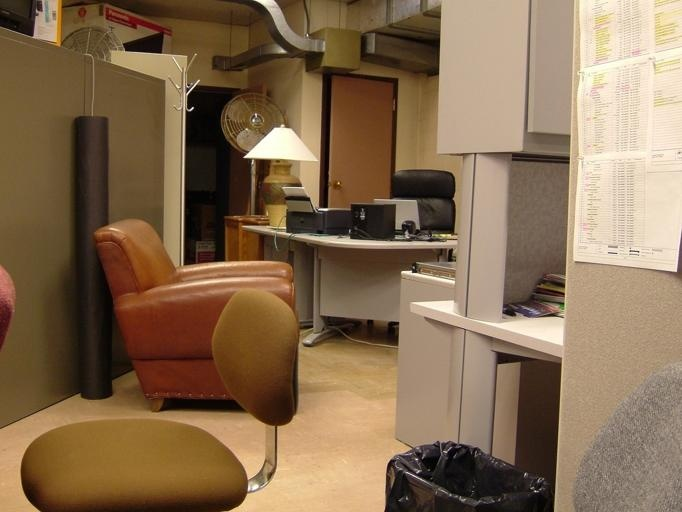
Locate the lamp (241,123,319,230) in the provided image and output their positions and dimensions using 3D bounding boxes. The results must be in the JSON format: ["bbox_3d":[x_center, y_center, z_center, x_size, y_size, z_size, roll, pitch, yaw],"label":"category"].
[{"bbox_3d":[-0.417,-0.618,4.767,0.753,1.039,0.711,1,2,1],"label":"lamp"}]

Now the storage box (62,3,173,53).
[{"bbox_3d":[-2.561,-2.601,6.536,1.201,0.453,0.569,-2,9,-27],"label":"storage box"}]

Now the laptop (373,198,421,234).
[{"bbox_3d":[0.459,-0.325,4.165,0.295,0.230,0.228,2,7,13],"label":"laptop"}]

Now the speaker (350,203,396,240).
[{"bbox_3d":[0.230,-0.242,3.909,0.299,0.307,0.234,1,5,18],"label":"speaker"}]

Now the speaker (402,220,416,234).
[{"bbox_3d":[0.490,-0.214,4.060,0.067,0.110,0.107,9,20,32],"label":"speaker"}]

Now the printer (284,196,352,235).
[{"bbox_3d":[-0.150,-0.277,4.240,0.319,0.241,0.337,-2,4,-37],"label":"printer"}]

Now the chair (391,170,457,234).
[{"bbox_3d":[0.735,-0.465,5.101,0.508,0.782,0.566,1,4,1],"label":"chair"}]
